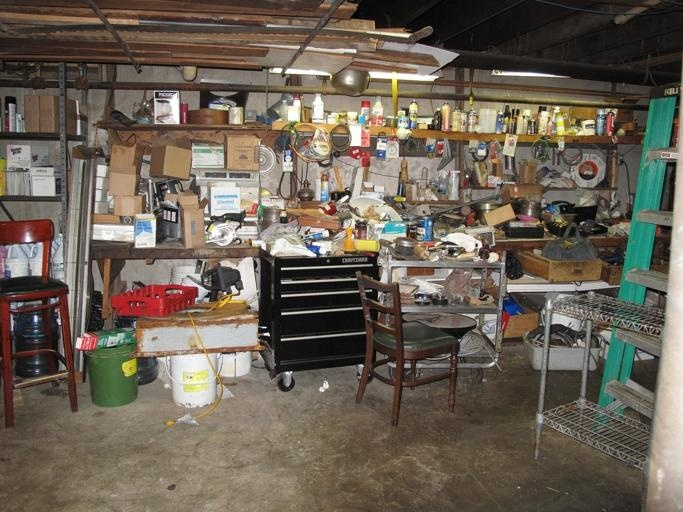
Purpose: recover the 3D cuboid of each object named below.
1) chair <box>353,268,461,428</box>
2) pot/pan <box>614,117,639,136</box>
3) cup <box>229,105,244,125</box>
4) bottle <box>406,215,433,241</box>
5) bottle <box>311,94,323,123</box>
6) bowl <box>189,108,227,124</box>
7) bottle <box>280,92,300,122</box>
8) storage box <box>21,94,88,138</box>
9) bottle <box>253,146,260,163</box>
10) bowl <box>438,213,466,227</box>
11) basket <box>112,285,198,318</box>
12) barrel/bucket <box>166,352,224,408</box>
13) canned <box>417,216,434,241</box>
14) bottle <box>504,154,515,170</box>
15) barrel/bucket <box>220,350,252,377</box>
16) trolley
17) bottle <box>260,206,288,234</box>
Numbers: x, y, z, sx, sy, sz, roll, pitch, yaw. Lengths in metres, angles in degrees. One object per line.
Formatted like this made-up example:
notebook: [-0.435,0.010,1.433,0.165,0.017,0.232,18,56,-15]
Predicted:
chair: [0.503,0.621,4.262,0.779,1.070,0.930,-1,10,9]
pot/pan: [3.297,-1.496,6.401,0.297,0.147,0.249,0,8,7]
cup: [-1.020,-1.378,5.380,0.198,0.173,0.176,1,5,9]
bottle: [0.750,-0.262,5.202,0.280,0.237,0.254,0,8,7]
bottle: [-0.240,-1.480,5.519,0.112,0.294,0.124,-3,10,-3]
bowl: [-1.291,-1.352,5.370,0.239,0.074,0.222,1,10,0]
bottle: [-0.500,-1.506,5.576,0.204,0.328,0.497,-4,9,-8]
storage box: [-2.606,-1.257,4.974,0.369,0.376,0.604,-1,8,-11]
bottle: [-0.831,-1.001,5.392,0.058,0.127,0.155,-1,10,-3]
bowl: [1.148,-0.382,5.792,0.203,0.057,0.177,8,12,2]
basket: [-1.430,0.334,4.301,0.425,0.203,0.526,1,9,16]
barrel/bucket: [-1.139,0.946,4.269,0.531,0.394,0.334,1,-3,-19]
canned: [0.774,-0.247,5.087,0.145,0.210,0.155,-2,10,4]
bottle: [1.936,-1.092,6.385,0.167,0.148,0.147,0,2,-2]
barrel/bucket: [-0.872,0.914,4.651,0.291,0.156,0.256,1,1,5]
trolley: [0.123,0.590,4.587,1.167,1.027,0.935,-6,-15,22]
bottle: [-0.670,-0.350,5.231,0.295,0.246,0.247,0,0,-10]
